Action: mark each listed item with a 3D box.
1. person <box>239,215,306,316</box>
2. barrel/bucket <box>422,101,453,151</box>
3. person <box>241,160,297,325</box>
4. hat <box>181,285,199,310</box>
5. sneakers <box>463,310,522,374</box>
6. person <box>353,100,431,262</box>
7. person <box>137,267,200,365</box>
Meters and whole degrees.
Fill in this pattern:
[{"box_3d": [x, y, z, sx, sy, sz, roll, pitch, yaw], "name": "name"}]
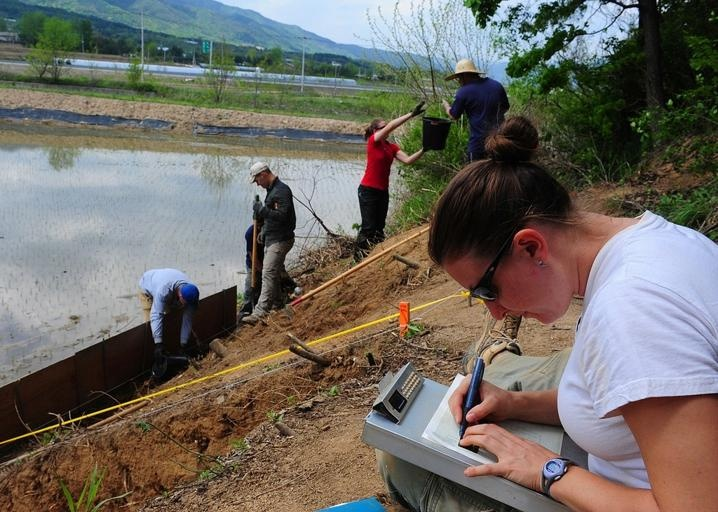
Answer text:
[{"box_3d": [-1.308, -0.205, 8.873, 0.657, 2.349, 0.962, 6, 11, 23], "name": "person"}, {"box_3d": [1.015, -1.615, 7.946, 0.421, 0.390, 0.411, 2, 26, -1], "name": "barrel/bucket"}, {"box_3d": [-1.378, -0.162, 8.792, 0.599, 2.232, 0.753, 12, 17, 26], "name": "person"}, {"box_3d": [-2.176, 0.520, 7.646, 0.221, 0.302, 0.243, -1, 17, -18], "name": "hat"}, {"box_3d": [0.978, 0.641, 4.316, 0.631, 0.218, 0.284, -50, 17, -21], "name": "sneakers"}, {"box_3d": [0.358, -1.078, 9.381, 1.062, 2.627, 1.092, 8, 21, 0], "name": "person"}, {"box_3d": [-2.557, 0.904, 7.967, 0.675, 1.333, 0.681, 2, 17, -17], "name": "person"}]
